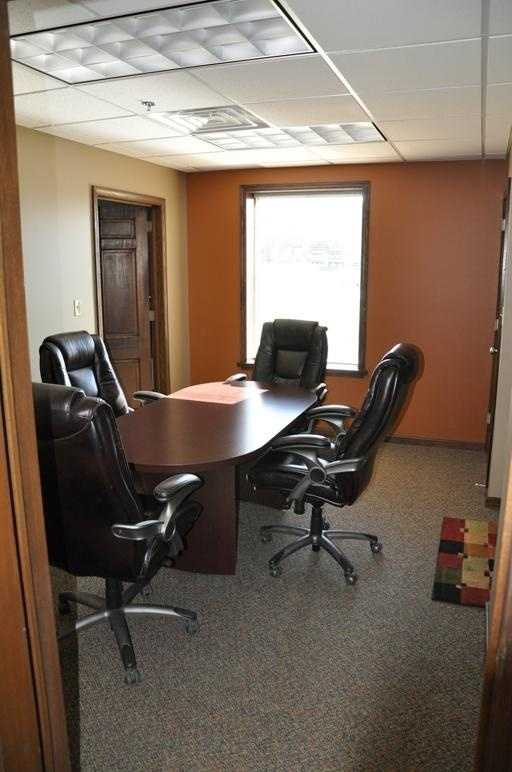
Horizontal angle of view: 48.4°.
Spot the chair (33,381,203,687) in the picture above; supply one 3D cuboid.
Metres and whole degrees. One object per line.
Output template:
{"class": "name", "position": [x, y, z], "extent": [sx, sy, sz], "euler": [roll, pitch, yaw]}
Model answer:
{"class": "chair", "position": [-0.572, 0.477, 2.146], "extent": [0.632, 1.098, 0.675], "euler": [-1, 13, -6]}

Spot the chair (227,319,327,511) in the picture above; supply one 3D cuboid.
{"class": "chair", "position": [0.181, 0.156, 4.397], "extent": [0.664, 1.242, 0.721], "euler": [8, 30, 7]}

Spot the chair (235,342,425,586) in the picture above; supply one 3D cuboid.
{"class": "chair", "position": [0.373, 0.358, 2.988], "extent": [0.771, 1.227, 0.679], "euler": [6, 15, 19]}

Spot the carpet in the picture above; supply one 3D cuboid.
{"class": "carpet", "position": [1.131, 0.942, 3.091], "extent": [0.282, 0.032, 0.692], "euler": [0, 22, 22]}
